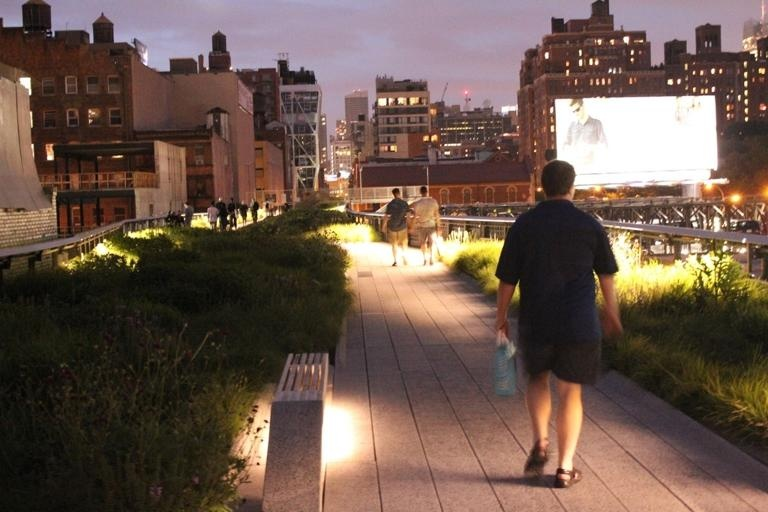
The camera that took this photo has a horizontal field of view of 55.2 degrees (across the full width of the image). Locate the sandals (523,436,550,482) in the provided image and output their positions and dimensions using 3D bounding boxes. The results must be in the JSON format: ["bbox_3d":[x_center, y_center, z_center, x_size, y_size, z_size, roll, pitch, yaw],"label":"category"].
[{"bbox_3d":[1.514,2.031,7.321,0.206,0.252,0.542,2,-14,4],"label":"sandals"}]

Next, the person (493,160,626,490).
[{"bbox_3d":[1.704,0.615,7.290,1.183,3.058,0.901,0,8,10],"label":"person"}]

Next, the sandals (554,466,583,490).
[{"bbox_3d":[1.751,2.112,7.071,0.127,0.144,0.302,1,9,26],"label":"sandals"}]
